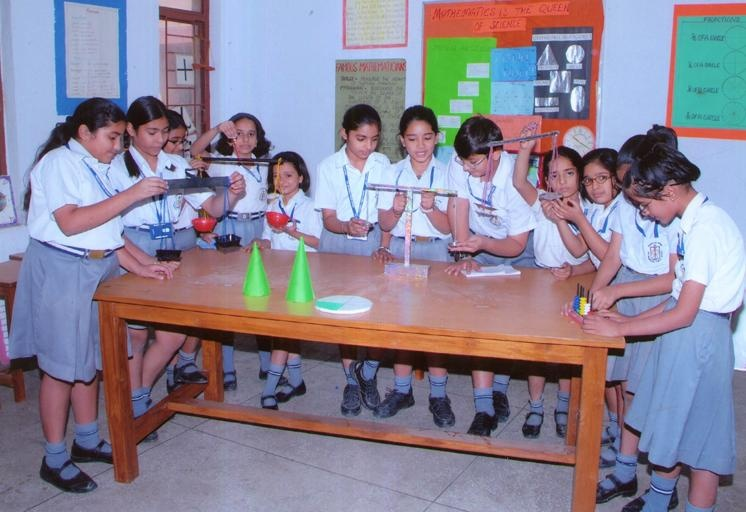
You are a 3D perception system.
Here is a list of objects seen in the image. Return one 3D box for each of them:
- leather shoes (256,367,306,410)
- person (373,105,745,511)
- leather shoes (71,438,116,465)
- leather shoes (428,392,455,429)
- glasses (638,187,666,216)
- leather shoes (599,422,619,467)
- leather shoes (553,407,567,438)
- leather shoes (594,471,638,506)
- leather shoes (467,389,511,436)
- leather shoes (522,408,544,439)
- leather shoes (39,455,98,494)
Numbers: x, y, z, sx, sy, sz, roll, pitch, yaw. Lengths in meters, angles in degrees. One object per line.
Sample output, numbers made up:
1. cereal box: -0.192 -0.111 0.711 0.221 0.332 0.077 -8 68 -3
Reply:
1. leather shoes: -0.601 0.875 3.860 0.140 0.183 0.427 -1 -3 12
2. person: 1.233 0.329 2.948 0.639 1.810 1.261 -16 22 -41
3. leather shoes: -1.539 1.088 3.219 0.283 0.125 0.117 1 4 -2
4. leather shoes: 0.432 0.970 3.603 0.102 0.079 0.215 -5 17 -8
5. glasses: 1.214 -0.238 2.554 0.098 0.077 0.137 0 18 -4
6. leather shoes: 1.371 1.071 3.308 0.088 0.128 0.292 -5 11 25
7. leather shoes: 1.163 1.021 3.537 0.056 0.050 0.173 0 56 18
8. leather shoes: 1.242 1.199 2.968 0.288 0.136 0.136 -2 7 -4
9. leather shoes: 0.706 0.980 3.511 0.147 0.167 0.450 -5 23 24
10. leather shoes: 0.975 1.018 3.507 0.072 0.064 0.208 -2 16 16
11. leather shoes: -1.589 1.149 3.057 0.333 0.131 0.128 15 17 15
